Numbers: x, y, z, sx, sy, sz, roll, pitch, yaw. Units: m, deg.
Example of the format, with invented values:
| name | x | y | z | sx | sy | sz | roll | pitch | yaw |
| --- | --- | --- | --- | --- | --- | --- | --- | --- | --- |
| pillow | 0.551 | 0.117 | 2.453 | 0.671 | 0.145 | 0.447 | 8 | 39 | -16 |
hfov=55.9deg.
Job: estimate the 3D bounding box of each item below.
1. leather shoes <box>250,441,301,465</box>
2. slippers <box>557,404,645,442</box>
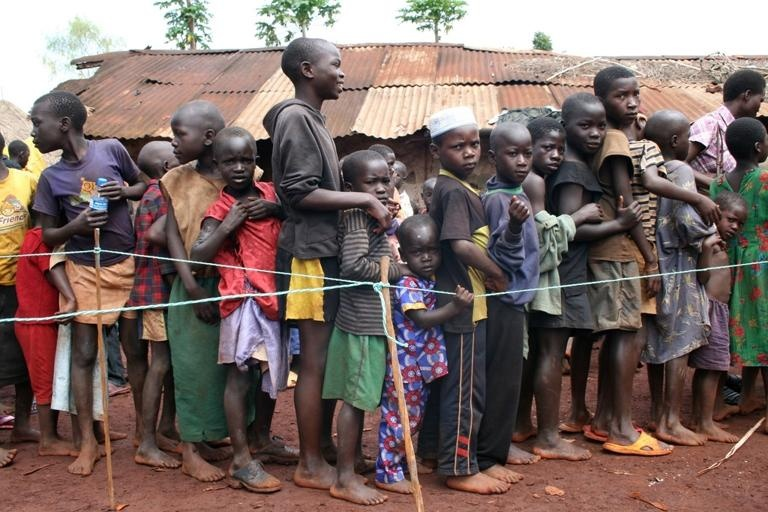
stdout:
| name | x | y | z | sx | sy | sz | roll | pitch | yaw |
| --- | --- | --- | --- | --- | --- | --- | --- | --- | --- |
| leather shoes | -0.975 | 1.749 | 6.479 | 0.399 | 0.155 | 0.194 | 0 | 8 | 2 |
| slippers | 1.963 | 1.579 | 6.870 | 0.598 | 0.153 | 0.311 | -1 | -4 | 19 |
